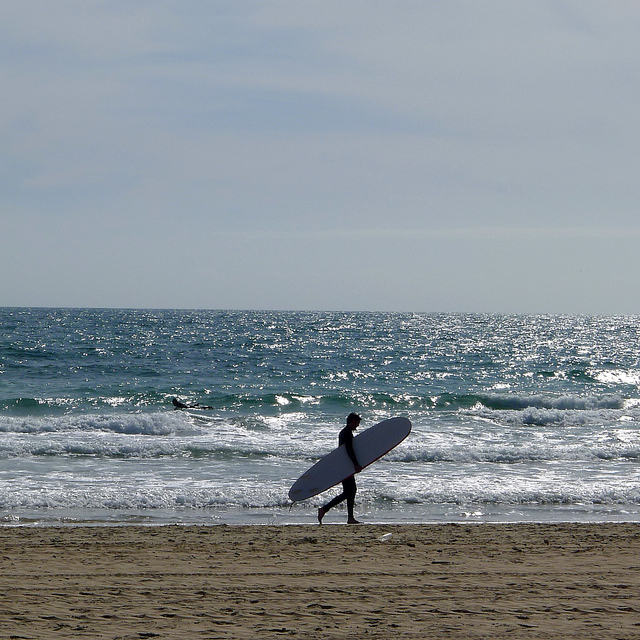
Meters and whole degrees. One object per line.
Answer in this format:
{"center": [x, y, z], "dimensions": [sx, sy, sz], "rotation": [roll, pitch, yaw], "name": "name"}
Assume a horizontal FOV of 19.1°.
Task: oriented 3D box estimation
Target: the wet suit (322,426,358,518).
{"center": [0.451, 3.006, 37.354], "dimensions": [0.618, 1.932, 1.069], "rotation": [1, 11, 0], "name": "wet suit"}

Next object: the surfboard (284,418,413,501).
{"center": [0.596, 2.837, 37.746], "dimensions": [1.039, 0.362, 4.221], "rotation": [6, 23, 33], "name": "surfboard"}
